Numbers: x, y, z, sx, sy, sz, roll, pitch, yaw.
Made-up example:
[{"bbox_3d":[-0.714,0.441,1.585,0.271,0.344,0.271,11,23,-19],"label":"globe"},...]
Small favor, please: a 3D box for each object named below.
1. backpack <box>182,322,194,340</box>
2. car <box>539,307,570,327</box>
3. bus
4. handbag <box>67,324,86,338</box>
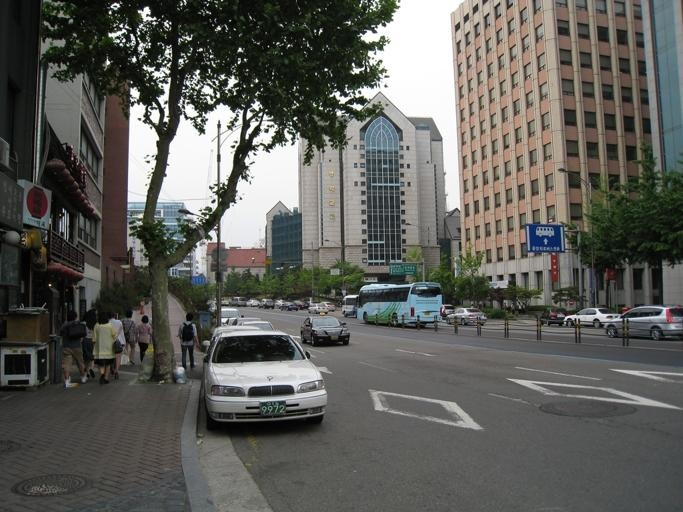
[{"bbox_3d":[-5.070,2.508,20.188,0.409,0.661,0.334,2,7,2],"label":"backpack"},{"bbox_3d":[16.768,4.810,48.651,1.327,1.271,2.548,0,-1,1],"label":"car"},{"bbox_3d":[4.256,4.036,50.692,2.460,3.443,9.792,5,-6,-23],"label":"bus"},{"bbox_3d":[-7.099,2.004,16.371,0.483,0.418,0.264,0,-6,-29],"label":"handbag"}]
